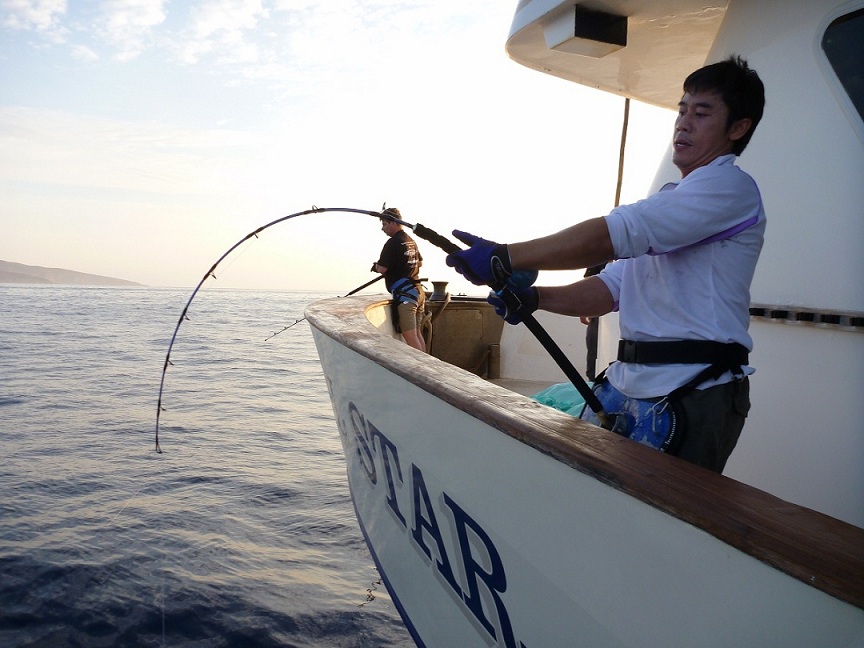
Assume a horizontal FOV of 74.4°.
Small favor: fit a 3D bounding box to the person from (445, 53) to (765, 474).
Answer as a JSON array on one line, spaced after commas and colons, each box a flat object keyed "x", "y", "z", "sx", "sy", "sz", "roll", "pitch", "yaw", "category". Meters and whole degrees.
[{"x": 0.385, "y": -0.070, "z": 1.820, "sx": 0.794, "sy": 1.329, "sz": 0.548, "roll": 5, "pitch": -1, "yaw": -9, "category": "person"}]

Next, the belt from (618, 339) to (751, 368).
[{"x": 0.538, "y": 0.086, "z": 1.725, "sx": 0.306, "sy": 0.104, "sz": 0.111, "roll": 8, "pitch": 6, "yaw": 30, "category": "belt"}]
